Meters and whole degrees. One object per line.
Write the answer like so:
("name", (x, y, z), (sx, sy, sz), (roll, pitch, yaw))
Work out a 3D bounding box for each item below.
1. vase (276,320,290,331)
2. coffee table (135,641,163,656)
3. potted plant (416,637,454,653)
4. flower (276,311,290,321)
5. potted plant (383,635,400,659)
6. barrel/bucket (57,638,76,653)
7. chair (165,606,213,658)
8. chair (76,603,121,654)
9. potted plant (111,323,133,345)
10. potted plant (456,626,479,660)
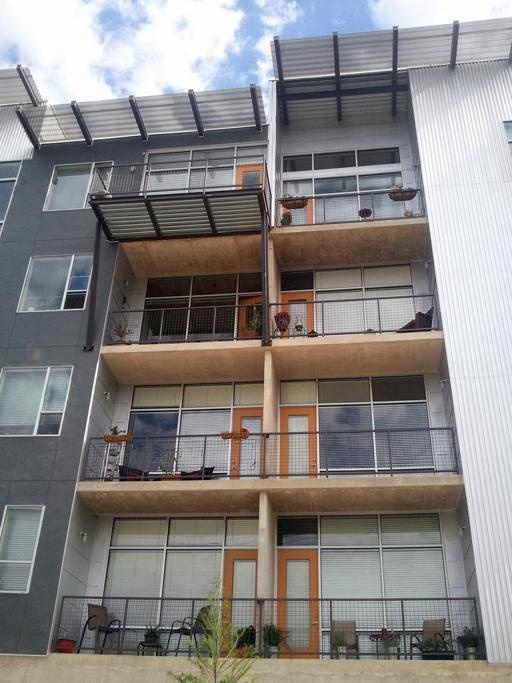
("vase", (0.644, -0.392, 13.088), (0.322, 0.318, 0.378), (3, -28, 1))
("coffee table", (-1.976, 5.747, 9.640), (0.346, 0.253, 2.137), (9, -29, -10))
("potted plant", (2.945, 5.008, 8.474), (0.539, 0.193, 0.539), (1, -29, 5))
("flower", (0.636, -0.690, 13.008), (0.341, 0.297, 0.287), (1, -28, 4))
("potted plant", (2.339, 5.302, 8.924), (0.247, 0.362, 1.915), (-4, -29, 13))
("barrel/bucket", (-3.328, 5.476, 9.260), (0.282, 0.203, 0.408), (-18, -35, 34))
("chair", (-1.259, 5.435, 9.671), (0.595, 0.692, 0.570), (23, -20, -39))
("chair", (-2.972, 5.497, 9.860), (0.712, 0.919, 0.720), (1, -34, -6))
("potted plant", (-3.527, -0.201, 13.655), (0.577, 0.632, 0.587), (4, -39, -10))
("potted plant", (3.557, 5.111, 8.730), (0.349, 0.479, 0.895), (-6, -30, 18))
